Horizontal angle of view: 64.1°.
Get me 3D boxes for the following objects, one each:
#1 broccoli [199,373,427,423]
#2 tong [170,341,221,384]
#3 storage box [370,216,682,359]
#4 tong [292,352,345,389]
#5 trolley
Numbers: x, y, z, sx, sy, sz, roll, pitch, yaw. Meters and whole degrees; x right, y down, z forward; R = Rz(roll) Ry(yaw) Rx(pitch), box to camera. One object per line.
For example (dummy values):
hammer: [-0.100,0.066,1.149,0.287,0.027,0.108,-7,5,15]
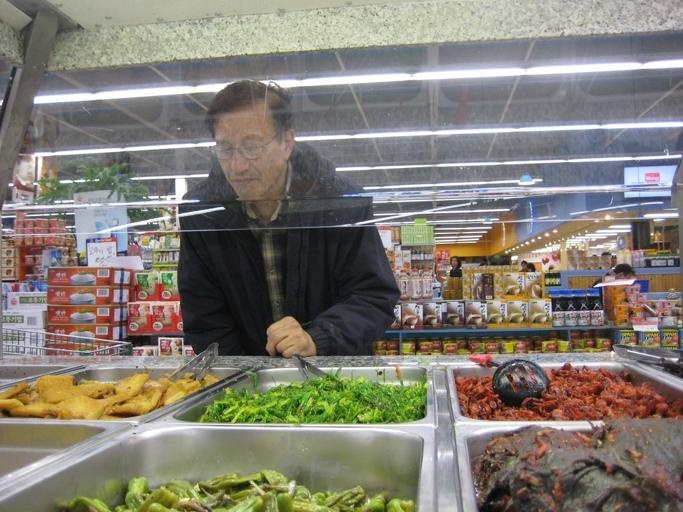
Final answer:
broccoli: [-0.092,0.502,1.944,0.779,0.125,0.364,-3,-5,9]
tong: [-0.589,0.443,2.295,0.074,0.262,0.022,29,-39,12]
storage box: [1.629,0.528,5.567,2.667,0.804,1.118,-3,-5,0]
tong: [-0.102,0.459,2.163,0.287,0.042,0.097,3,38,40]
trolley: [-1.861,0.563,3.636,0.614,0.233,0.330,4,-3,10]
